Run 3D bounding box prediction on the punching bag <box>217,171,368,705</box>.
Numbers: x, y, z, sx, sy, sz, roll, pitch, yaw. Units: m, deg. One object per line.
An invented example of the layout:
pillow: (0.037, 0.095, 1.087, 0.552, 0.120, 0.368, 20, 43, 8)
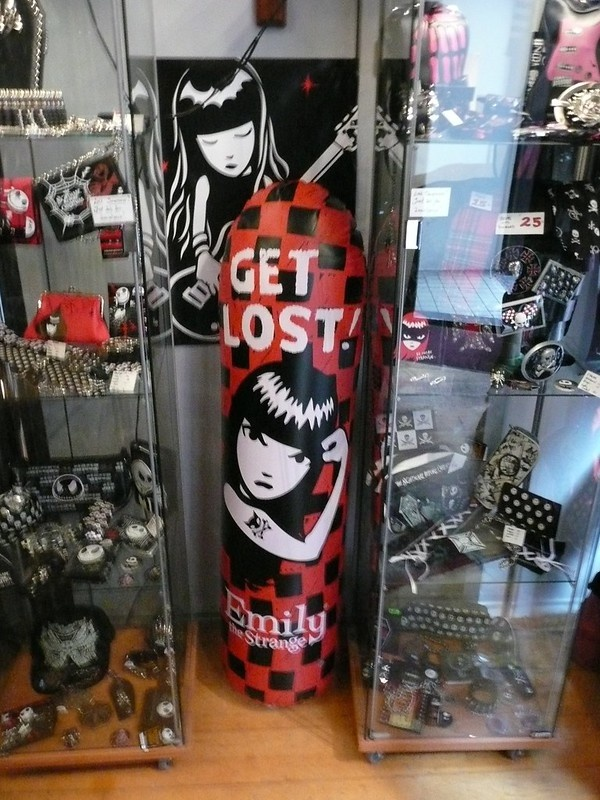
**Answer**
punching bag: (-0.038, 0.177, 1.639, 0.340, 1.430, 0.310, 4, 24, 4)
